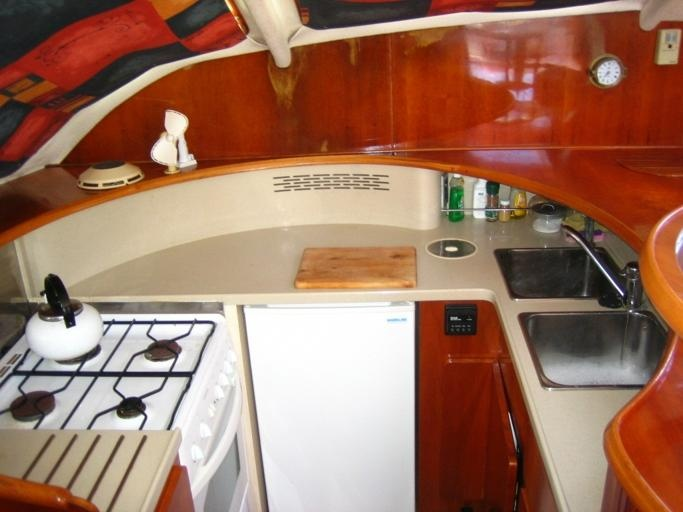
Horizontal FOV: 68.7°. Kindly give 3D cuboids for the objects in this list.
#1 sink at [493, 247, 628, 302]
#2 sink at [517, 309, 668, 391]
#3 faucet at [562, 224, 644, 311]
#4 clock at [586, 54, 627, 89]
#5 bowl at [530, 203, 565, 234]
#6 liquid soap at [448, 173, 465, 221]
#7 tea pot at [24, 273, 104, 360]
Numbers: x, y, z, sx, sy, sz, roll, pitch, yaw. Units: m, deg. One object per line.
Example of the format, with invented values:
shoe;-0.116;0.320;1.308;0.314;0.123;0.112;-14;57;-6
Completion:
sink;0.894;0.055;2.119;0.322;0.262;0.133;1;-41;12
sink;0.858;0.330;1.720;0.347;0.280;0.140;1;-53;13
faucet;0.968;0.050;1.842;0.073;0.298;0.166;-22;-39;1
clock;1.237;-0.836;2.292;0.031;0.139;0.133;5;-17;-30
bowl;0.948;-0.170;2.276;0.097;0.098;0.093;-11;-55;-17
liquid soap;0.564;-0.277;2.447;0.074;0.205;0.146;0;-17;13
tea pot;-0.919;0.208;1.641;0.166;0.168;0.228;-22;-53;-40
